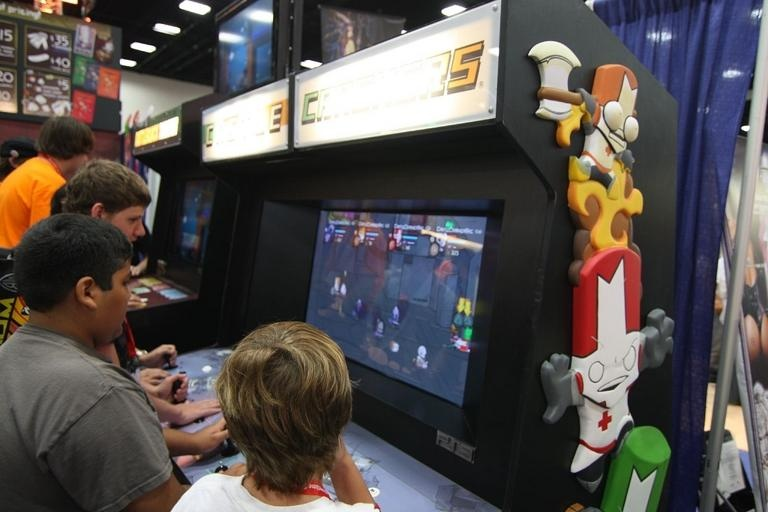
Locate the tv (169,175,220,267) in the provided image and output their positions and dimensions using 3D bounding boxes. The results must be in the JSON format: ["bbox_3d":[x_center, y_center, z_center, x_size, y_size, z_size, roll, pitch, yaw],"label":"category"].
[{"bbox_3d":[-1.201,-0.208,3.312,0.069,0.680,0.564,13,-4,-42],"label":"tv"}]

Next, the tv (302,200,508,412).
[{"bbox_3d":[0.117,0.209,2.122,0.009,0.603,0.842,10,4,-40],"label":"tv"}]
